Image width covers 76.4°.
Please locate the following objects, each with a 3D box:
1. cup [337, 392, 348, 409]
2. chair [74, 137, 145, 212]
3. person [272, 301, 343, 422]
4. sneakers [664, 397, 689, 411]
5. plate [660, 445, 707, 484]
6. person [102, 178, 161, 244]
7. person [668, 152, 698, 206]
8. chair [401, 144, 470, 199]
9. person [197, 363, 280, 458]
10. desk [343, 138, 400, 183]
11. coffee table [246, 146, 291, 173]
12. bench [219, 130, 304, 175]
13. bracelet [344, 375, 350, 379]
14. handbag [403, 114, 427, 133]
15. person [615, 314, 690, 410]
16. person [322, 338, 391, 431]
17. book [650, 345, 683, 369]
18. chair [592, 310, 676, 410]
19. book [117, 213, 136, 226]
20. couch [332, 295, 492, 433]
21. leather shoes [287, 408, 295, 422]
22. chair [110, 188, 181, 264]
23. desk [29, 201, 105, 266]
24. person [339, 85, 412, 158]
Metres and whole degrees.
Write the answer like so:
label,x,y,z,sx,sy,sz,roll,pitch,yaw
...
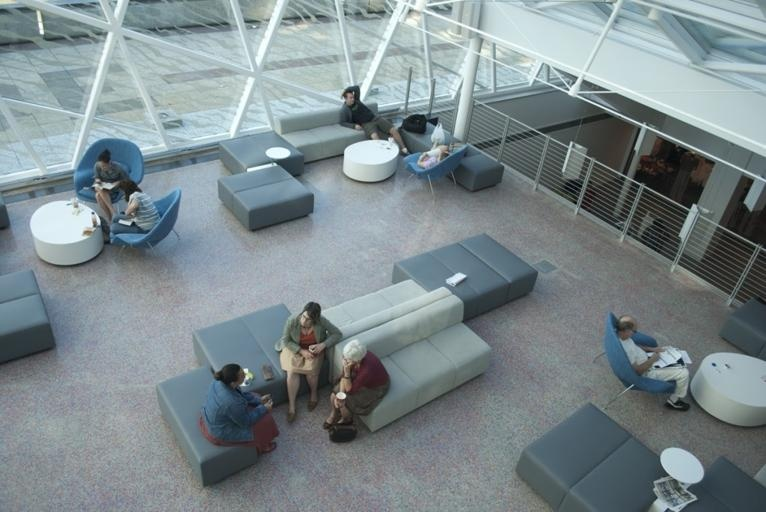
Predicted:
label,x,y,z,sx,sy,sz,roll,pitch,yaw
cup,-0.589,2.082,6.962,0.148,0.220,0.215,-6,50,-9
chair,-5.870,-1.748,10.373,1.321,1.012,1.402,31,41,30
person,-1.162,1.496,7.284,1.005,1.422,1.341,4,25,-8
sneakers,4.802,2.461,8.049,0.411,0.177,0.155,2,55,10
plate,3.674,2.693,6.015,0.414,0.518,0.479,0,24,29
person,-4.883,-0.853,9.337,1.075,1.149,0.883,5,12,-8
person,9.805,-2.480,15.969,0.281,1.785,0.809,-24,24,-24
chair,1.252,-2.278,12.002,1.399,0.929,1.340,-24,31,-30
person,-1.945,2.154,6.719,1.081,1.502,0.751,-2,26,-21
desk,-0.316,-2.408,12.369,1.371,0.492,1.074,8,47,7
coffee table,-2.611,-2.273,11.380,0.530,0.234,0.988,33,43,30
bench,-3.061,-2.494,11.712,1.431,0.548,1.300,-20,49,-34
bracelet,-0.517,1.741,6.952,0.053,0.012,0.051,-8,27,-22
handbag,0.846,-3.532,13.100,0.588,0.516,0.208,7,-7,-3
person,4.374,1.772,7.939,1.112,1.721,0.716,-7,19,12
person,-0.382,1.917,7.206,0.991,1.275,0.665,-14,25,-41
book,4.609,1.658,7.872,0.388,0.115,0.287,-26,39,-28
chair,4.271,1.635,8.093,1.076,0.893,1.394,0,30,10
book,-4.938,-0.674,9.451,0.288,0.068,0.268,32,49,26
couch,0.470,1.705,7.850,2.352,1.082,1.163,-20,36,-31
leather shoes,-1.382,2.439,7.388,0.094,0.180,0.072,-1,-8,5
chair,-4.677,-0.736,9.563,1.550,1.192,1.401,-9,40,-21
desk,-6.111,-0.380,9.483,1.180,1.050,1.153,-26,25,-30
person,-0.334,-3.683,12.994,1.119,1.422,2.314,-20,34,-35
